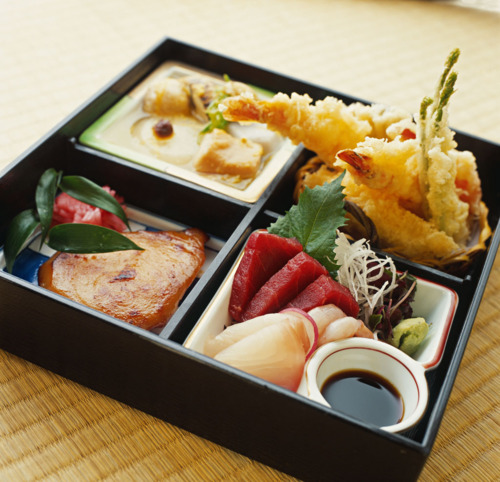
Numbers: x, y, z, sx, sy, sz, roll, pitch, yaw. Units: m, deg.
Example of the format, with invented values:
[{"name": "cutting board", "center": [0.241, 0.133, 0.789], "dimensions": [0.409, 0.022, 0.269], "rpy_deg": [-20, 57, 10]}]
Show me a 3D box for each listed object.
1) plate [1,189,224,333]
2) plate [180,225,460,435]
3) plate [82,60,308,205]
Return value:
[{"name": "plate", "center": [-0.420, 0.058, 1.506], "dimensions": [0.510, 0.091, 0.449], "rpy_deg": [15, 39, 11]}, {"name": "plate", "center": [0.112, 0.239, 1.170], "dimensions": [0.566, 0.147, 0.488], "rpy_deg": [21, 47, 10]}, {"name": "plate", "center": [-0.173, -0.441, 1.869], "dimensions": [0.716, 0.135, 0.817], "rpy_deg": [15, 39, 12]}]
